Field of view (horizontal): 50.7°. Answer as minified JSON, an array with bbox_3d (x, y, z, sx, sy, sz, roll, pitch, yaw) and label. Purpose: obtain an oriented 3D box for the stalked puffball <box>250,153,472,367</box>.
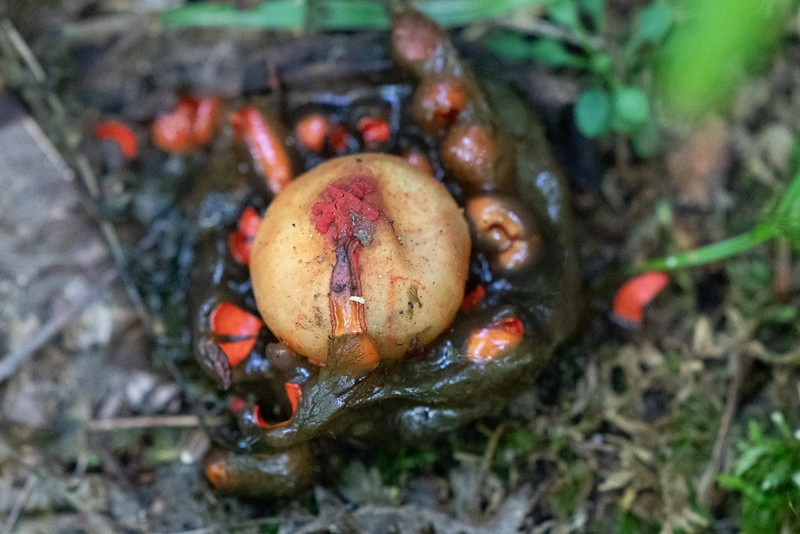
[{"bbox_3d":[-0.133,-0.029,4.062,1.198,0.953,0.803,-20,37,-26],"label":"stalked puffball"}]
